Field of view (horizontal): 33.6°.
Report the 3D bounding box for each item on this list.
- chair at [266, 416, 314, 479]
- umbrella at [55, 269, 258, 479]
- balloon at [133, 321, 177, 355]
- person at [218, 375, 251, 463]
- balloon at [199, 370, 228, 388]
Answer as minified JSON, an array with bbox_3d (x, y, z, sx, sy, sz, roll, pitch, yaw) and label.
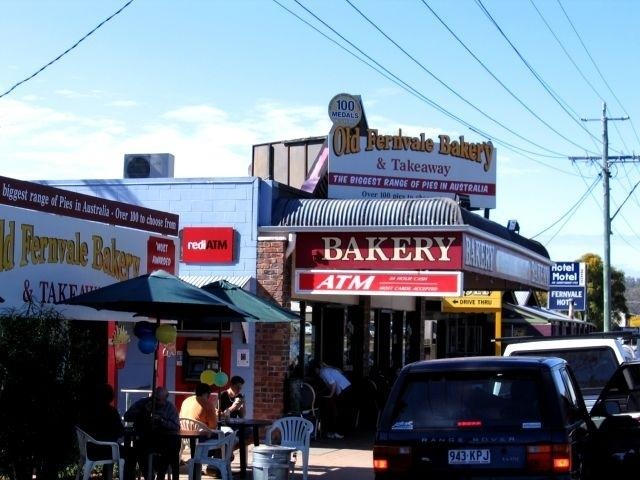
[{"bbox_3d":[-0.394,3.186,16.411,0.828,1.295,0.870,1,-11,9],"label":"chair"},{"bbox_3d":[-2.494,2.112,16.392,2.460,2.662,2.574,3,-9,-14],"label":"umbrella"},{"bbox_3d":[-2.410,1.378,15.564,0.637,0.453,0.316,19,25,33],"label":"balloon"},{"bbox_3d":[-1.459,2.967,17.634,0.420,1.312,0.530,7,-10,-40],"label":"person"},{"bbox_3d":[-1.781,2.374,17.475,0.474,0.286,0.302,7,2,12],"label":"balloon"}]
